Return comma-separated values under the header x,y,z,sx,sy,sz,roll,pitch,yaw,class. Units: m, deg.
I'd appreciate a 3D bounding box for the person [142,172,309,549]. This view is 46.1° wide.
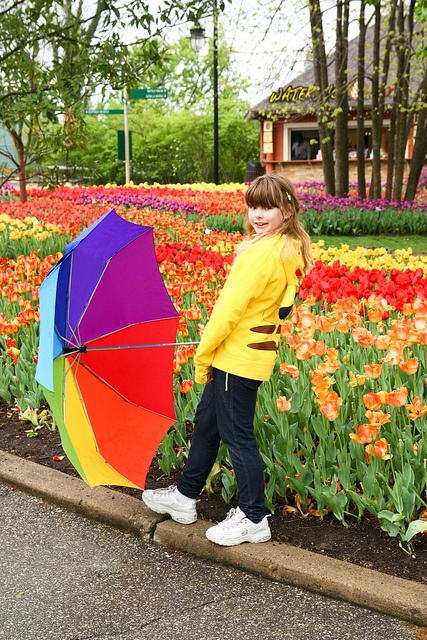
x,y,z,sx,sy,sz,roll,pitch,yaw,class
0.053,0.168,2.002,0.587,1.451,0.438,-1,5,37,person

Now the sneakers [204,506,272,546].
x,y,z,sx,sy,sz,roll,pitch,yaw,class
0.100,0.830,2.026,0.279,0.137,0.108,1,-5,-7,sneakers

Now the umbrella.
x,y,z,sx,sy,sz,roll,pitch,yaw,class
-0.433,0.130,2.094,0.371,1.054,1.092,-11,5,16,umbrella
